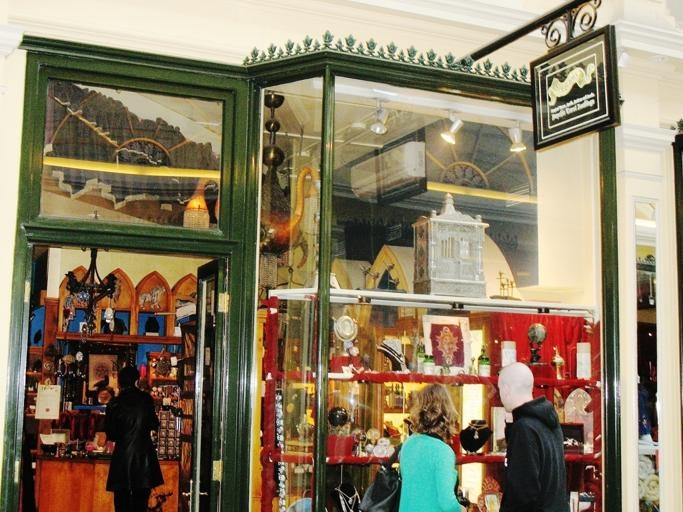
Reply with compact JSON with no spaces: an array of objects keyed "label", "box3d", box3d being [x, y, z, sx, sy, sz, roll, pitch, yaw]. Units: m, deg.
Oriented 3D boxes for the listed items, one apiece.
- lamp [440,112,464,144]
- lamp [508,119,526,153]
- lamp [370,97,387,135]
[{"label":"lamp","box3d":[0.917,-1.068,9.034,0.185,0.244,0.076,7,-13,-30]},{"label":"lamp","box3d":[1.485,-1.019,9.278,0.115,0.230,0.171,-5,-13,22]},{"label":"lamp","box3d":[0.303,-1.129,8.768,0.145,0.276,0.055,9,-14,-35]}]
